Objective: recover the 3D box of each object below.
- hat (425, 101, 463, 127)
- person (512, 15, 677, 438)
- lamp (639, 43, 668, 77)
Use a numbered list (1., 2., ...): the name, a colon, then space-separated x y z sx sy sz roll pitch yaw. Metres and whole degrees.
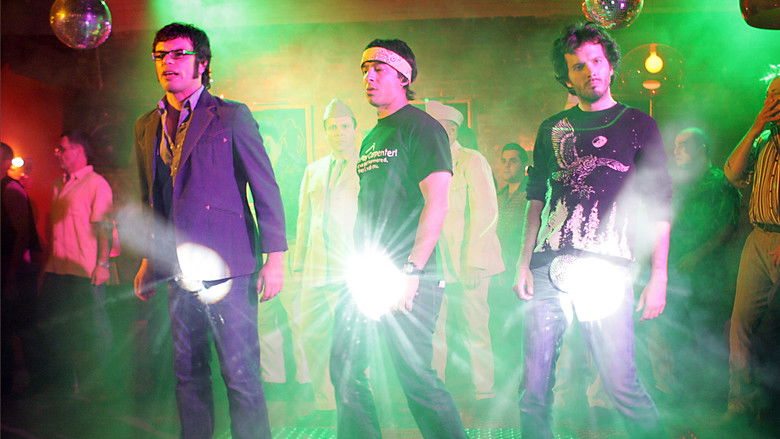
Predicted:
1. hat: 0.583 -1.124 6.319 0.359 0.183 0.284 22 -16 8
2. person: 1.704 0.079 4.948 1.214 3.485 0.387 2 -7 -3
3. lamp: 2.745 -1.664 6.108 0.292 0.288 0.284 -14 23 -3
